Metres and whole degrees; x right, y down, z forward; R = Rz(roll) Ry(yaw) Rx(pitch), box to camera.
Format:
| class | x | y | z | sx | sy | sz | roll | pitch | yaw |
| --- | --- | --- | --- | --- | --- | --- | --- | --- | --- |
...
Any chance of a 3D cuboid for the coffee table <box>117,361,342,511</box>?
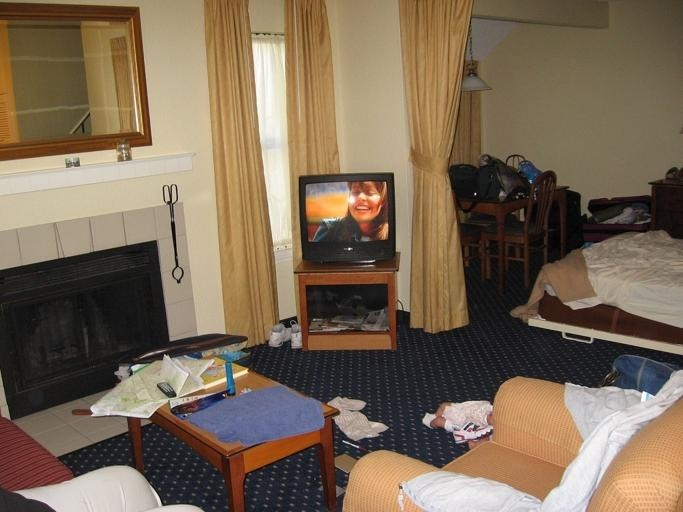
| class | x | y | z | sx | sy | sz | roll | pitch | yaw |
| --- | --- | --- | --- | --- | --- | --- | --- | --- | --- |
| coffee table | -0.609 | 0.963 | 2.710 | 0.920 | 0.547 | 0.675 | 9 | 16 | 43 |

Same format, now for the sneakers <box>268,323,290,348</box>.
| class | x | y | z | sx | sy | sz | roll | pitch | yaw |
| --- | --- | --- | --- | --- | --- | --- | --- | --- | --- |
| sneakers | -0.543 | 0.707 | 4.607 | 0.097 | 0.144 | 0.299 | 3 | 12 | 14 |

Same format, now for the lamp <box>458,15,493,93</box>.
| class | x | y | z | sx | sy | sz | roll | pitch | yaw |
| --- | --- | --- | --- | --- | --- | --- | --- | --- | --- |
| lamp | 1.460 | -2.254 | 5.912 | 0.420 | 0.677 | 0.437 | -8 | 24 | 4 |

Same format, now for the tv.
| class | x | y | z | sx | sy | sz | roll | pitch | yaw |
| --- | --- | --- | --- | --- | --- | --- | --- | --- | --- |
| tv | 0.073 | -0.324 | 4.547 | 0.811 | 0.750 | 0.512 | -1 | 4 | 6 |

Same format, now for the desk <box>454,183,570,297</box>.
| class | x | y | z | sx | sy | sz | roll | pitch | yaw |
| --- | --- | --- | --- | --- | --- | --- | --- | --- | --- |
| desk | 1.888 | -0.459 | 5.962 | 1.044 | 1.598 | 1.658 | 11 | 23 | 34 |

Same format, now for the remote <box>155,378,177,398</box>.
| class | x | y | z | sx | sy | sz | roll | pitch | yaw |
| --- | --- | --- | --- | --- | --- | --- | --- | --- | --- |
| remote | -0.930 | 0.714 | 2.793 | 0.055 | 0.021 | 0.115 | -10 | 34 | -35 |

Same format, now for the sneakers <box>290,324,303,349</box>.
| class | x | y | z | sx | sy | sz | roll | pitch | yaw |
| --- | --- | --- | --- | --- | --- | --- | --- | --- | --- |
| sneakers | -0.394 | 0.710 | 4.523 | 0.075 | 0.151 | 0.210 | 2 | 12 | 4 |

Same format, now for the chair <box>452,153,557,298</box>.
| class | x | y | z | sx | sy | sz | roll | pitch | yaw |
| --- | --- | --- | --- | --- | --- | --- | --- | --- | --- |
| chair | 1.842 | -0.509 | 5.792 | 0.980 | 1.893 | 0.946 | -13 | 15 | -43 |

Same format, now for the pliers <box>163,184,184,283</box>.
| class | x | y | z | sx | sy | sz | roll | pitch | yaw |
| --- | --- | --- | --- | --- | --- | --- | --- | --- | --- |
| pliers | -1.316 | -0.157 | 4.133 | 0.157 | 0.831 | 0.033 | 0 | 7 | 32 |
